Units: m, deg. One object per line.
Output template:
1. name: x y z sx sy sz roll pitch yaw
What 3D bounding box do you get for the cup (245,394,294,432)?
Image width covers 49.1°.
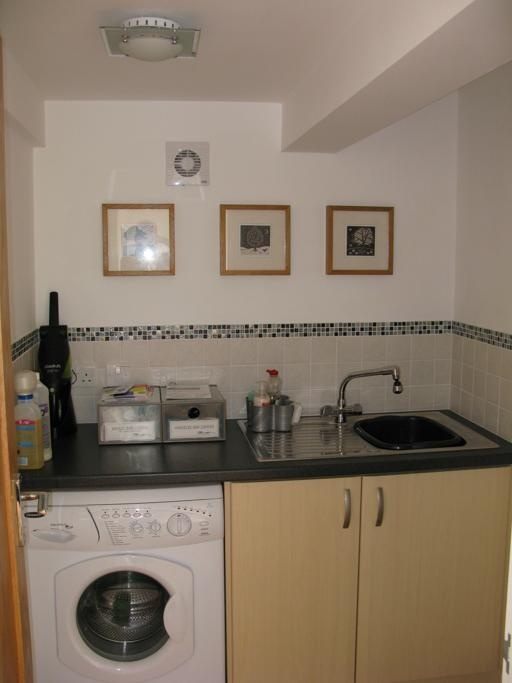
1. cup: 0.052 0.283 2.284 0.165 0.103 0.132 -2 5 -33

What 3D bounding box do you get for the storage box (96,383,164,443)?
1. storage box: -0.479 0.311 2.229 0.280 0.160 0.284 -1 1 -14

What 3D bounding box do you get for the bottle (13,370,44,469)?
1. bottle: -0.741 0.260 1.840 0.097 0.319 0.069 -2 4 -38

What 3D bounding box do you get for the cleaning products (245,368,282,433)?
1. cleaning products: 0.081 0.256 2.336 0.143 0.261 0.238 3 -6 7

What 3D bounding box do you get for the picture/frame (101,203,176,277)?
1. picture/frame: -0.501 -0.434 2.333 0.282 0.309 0.010 0 3 -8

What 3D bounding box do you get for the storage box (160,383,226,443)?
1. storage box: -0.256 0.286 2.209 0.195 0.137 0.213 0 8 -5

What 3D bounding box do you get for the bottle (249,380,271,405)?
1. bottle: 0.020 0.218 2.346 0.080 0.148 0.082 2 -1 0

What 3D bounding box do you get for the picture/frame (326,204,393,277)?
1. picture/frame: 0.446 -0.458 2.473 0.294 0.322 0.020 0 3 -9

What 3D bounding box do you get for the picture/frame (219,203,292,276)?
1. picture/frame: -0.015 -0.448 2.402 0.288 0.298 0.020 0 3 -10

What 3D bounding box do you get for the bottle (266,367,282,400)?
1. bottle: 0.079 0.183 2.387 0.061 0.121 0.053 -4 -1 -13
